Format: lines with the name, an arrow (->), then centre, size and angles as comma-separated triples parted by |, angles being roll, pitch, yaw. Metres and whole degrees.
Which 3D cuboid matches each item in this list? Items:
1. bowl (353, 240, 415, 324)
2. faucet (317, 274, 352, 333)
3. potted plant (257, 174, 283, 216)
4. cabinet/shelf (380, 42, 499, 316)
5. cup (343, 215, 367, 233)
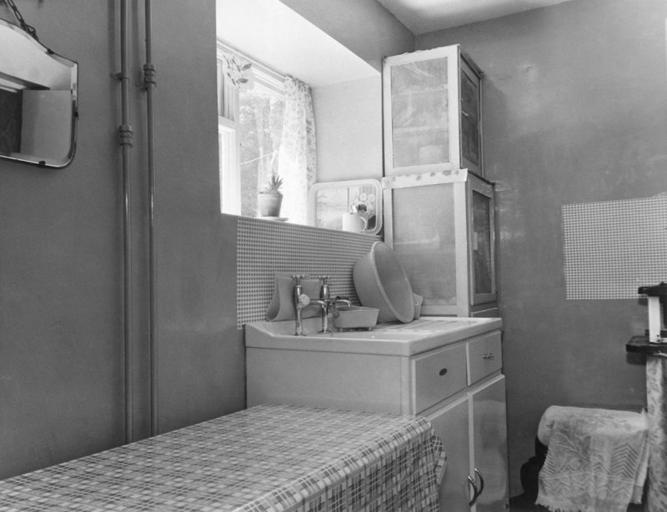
bowl -> 0.281, 0.131, 2.913 | 0.326, 0.391, 0.259 | -4, 6, -29
faucet -> -0.027, 0.201, 2.438 | 0.174, 0.278, 0.266 | -3, 0, -4
potted plant -> -0.280, -0.282, 2.670 | 0.112, 0.197, 0.112 | -8, 14, -44
cabinet/shelf -> 0.656, -0.409, 3.352 | 0.735, 1.558, 0.576 | -2, 5, -7
cup -> 0.132, -0.183, 3.228 | 0.162, 0.108, 0.126 | -3, 6, -17
